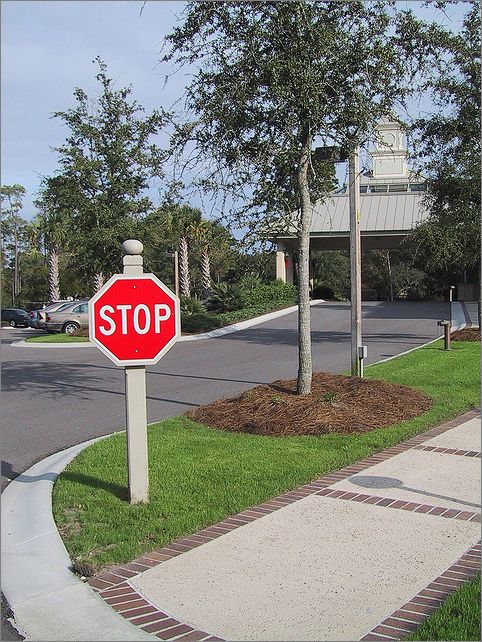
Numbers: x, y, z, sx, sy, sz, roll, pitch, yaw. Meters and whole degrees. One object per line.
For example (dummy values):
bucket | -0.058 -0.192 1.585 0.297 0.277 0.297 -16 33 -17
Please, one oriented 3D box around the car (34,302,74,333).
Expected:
car | -7.985 -0.133 29.533 2.464 1.166 1.079 -7 9 -25

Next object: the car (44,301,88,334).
car | -7.017 -0.101 27.712 2.546 1.048 1.173 -5 5 -18
